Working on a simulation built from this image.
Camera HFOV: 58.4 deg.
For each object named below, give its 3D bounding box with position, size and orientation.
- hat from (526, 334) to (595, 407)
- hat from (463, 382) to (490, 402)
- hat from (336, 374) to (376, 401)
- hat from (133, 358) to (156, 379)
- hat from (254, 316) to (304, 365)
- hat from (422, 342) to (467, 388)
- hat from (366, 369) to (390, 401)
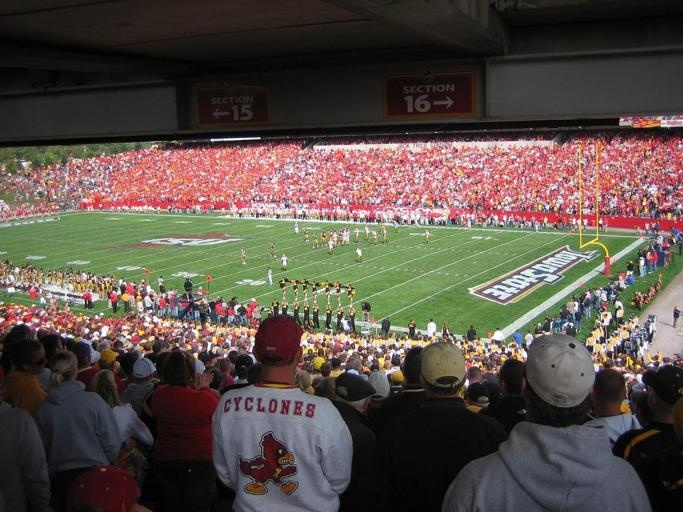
[{"bbox_3d":[1.132,0.585,3.153,0.269,0.186,0.382,8,40,13],"label":"hat"},{"bbox_3d":[1.208,1.234,5.488,0.137,0.183,0.174,3,55,-9],"label":"hat"},{"bbox_3d":[0.085,0.971,4.525,0.290,0.164,0.231,-5,11,-15],"label":"hat"},{"bbox_3d":[-1.908,1.079,5.844,0.170,0.205,0.246,-5,11,-15],"label":"hat"},{"bbox_3d":[-0.382,0.522,3.799,0.229,0.178,0.321,3,28,5],"label":"hat"},{"bbox_3d":[0.677,0.727,4.237,0.319,0.253,0.525,1,8,7],"label":"hat"},{"bbox_3d":[0.339,1.188,5.544,0.183,0.165,0.295,-2,12,0],"label":"hat"}]
